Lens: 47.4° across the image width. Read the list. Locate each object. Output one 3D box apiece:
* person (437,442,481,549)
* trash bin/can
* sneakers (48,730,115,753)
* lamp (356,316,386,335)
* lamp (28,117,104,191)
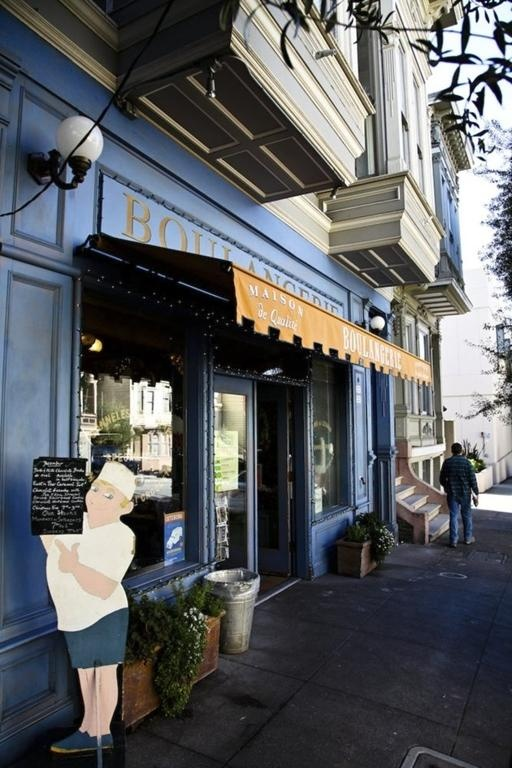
[{"bbox_3d":[3.521,1.887,10.167,0.595,1.705,1.006,-1,-5,21],"label":"person"},{"bbox_3d":[-0.174,1.965,5.044,0.558,0.679,0.630,-2,-10,14],"label":"trash bin/can"},{"bbox_3d":[-0.956,1.969,3.198,0.305,0.122,0.126,10,-34,-7],"label":"sneakers"},{"bbox_3d":[1.717,-0.893,8.799,0.375,0.188,0.553,-4,-5,25],"label":"lamp"},{"bbox_3d":[-1.137,-1.361,3.495,0.434,0.413,0.261,-9,-9,24],"label":"lamp"}]
